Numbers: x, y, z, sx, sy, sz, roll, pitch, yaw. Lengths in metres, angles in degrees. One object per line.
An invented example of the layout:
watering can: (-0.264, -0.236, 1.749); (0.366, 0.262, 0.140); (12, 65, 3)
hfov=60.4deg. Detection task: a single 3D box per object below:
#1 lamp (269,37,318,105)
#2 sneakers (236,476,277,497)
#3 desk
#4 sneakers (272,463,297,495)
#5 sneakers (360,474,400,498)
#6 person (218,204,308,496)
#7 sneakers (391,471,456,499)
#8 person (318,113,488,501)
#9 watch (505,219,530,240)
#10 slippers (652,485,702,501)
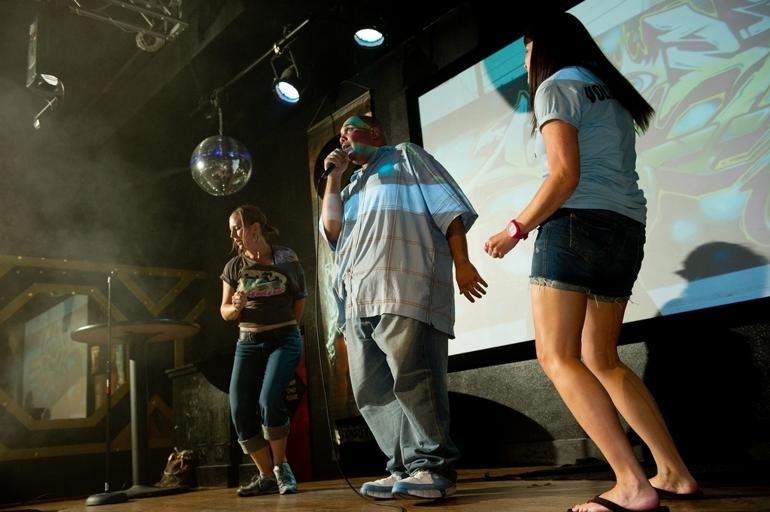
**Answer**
lamp: (-0.773, -1.690, 6.147); (0.313, 0.544, 0.538); (-7, -42, -8)
sneakers: (-0.897, 1.647, 4.767); (0.316, 0.144, 0.111); (8, -21, -24)
desk: (-2.019, 1.264, 5.724); (1.311, 1.694, 1.329); (8, -18, -36)
sneakers: (-0.709, 1.569, 4.696); (0.138, 0.219, 0.213); (-1, -20, -14)
sneakers: (-0.023, 1.365, 3.944); (0.269, 0.123, 0.101); (8, -26, -11)
person: (-0.877, 0.651, 4.890); (0.629, 2.098, 0.458); (2, -20, -21)
sneakers: (0.214, 1.294, 3.726); (0.354, 0.175, 0.139); (9, -23, -16)
person: (0.097, 0.255, 4.018); (0.917, 2.306, 0.660); (-3, -19, -6)
watch: (0.692, -0.127, 3.465); (0.108, 0.087, 0.044); (28, -46, -16)
slippers: (1.524, 1.231, 3.474); (0.309, 0.088, 0.118); (-3, -14, 12)
